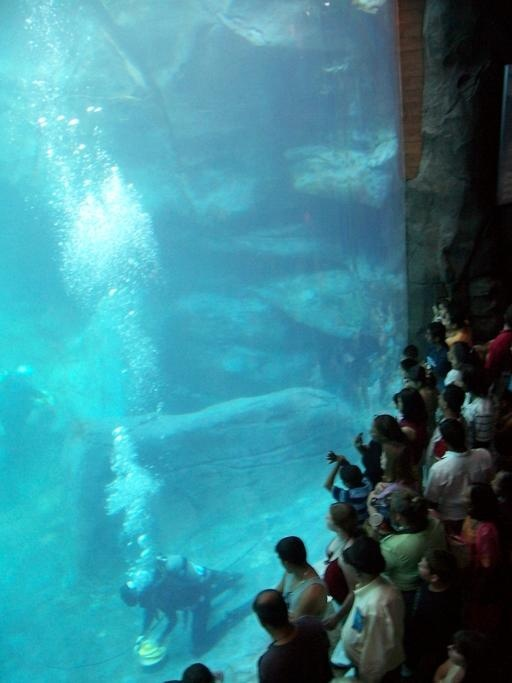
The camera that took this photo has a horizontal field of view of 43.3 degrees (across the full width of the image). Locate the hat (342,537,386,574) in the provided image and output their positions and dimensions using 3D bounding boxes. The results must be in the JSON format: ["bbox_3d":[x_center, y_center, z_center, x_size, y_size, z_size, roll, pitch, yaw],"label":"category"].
[{"bbox_3d":[0.577,1.116,3.470,0.183,0.201,0.200,-21,-8,5],"label":"hat"}]

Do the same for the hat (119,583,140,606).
[{"bbox_3d":[-1.688,3.397,8.641,0.321,0.364,0.132,-2,-48,-6],"label":"hat"}]
